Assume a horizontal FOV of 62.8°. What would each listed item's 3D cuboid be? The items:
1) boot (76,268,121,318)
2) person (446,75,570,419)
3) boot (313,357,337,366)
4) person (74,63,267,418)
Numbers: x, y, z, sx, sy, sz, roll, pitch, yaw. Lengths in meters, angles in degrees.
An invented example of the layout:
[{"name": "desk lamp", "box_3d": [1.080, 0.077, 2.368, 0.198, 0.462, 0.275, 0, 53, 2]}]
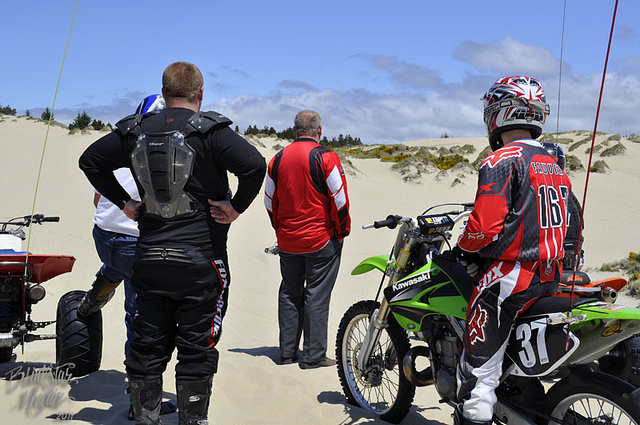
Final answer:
[{"name": "boot", "box_3d": [-2.661, 0.976, 6.350, 0.337, 0.638, 0.611, 4, -3, -40]}, {"name": "person", "box_3d": [1.728, 0.319, 4.823, 0.987, 3.177, 0.514, 2, -2, 13]}, {"name": "boot", "box_3d": [0.073, 2.078, 7.338, 0.284, 0.095, 0.241, 2, -3, -1]}, {"name": "person", "box_3d": [-1.321, 0.257, 4.882, 1.523, 3.310, 0.487, 1, -2, 19]}]
